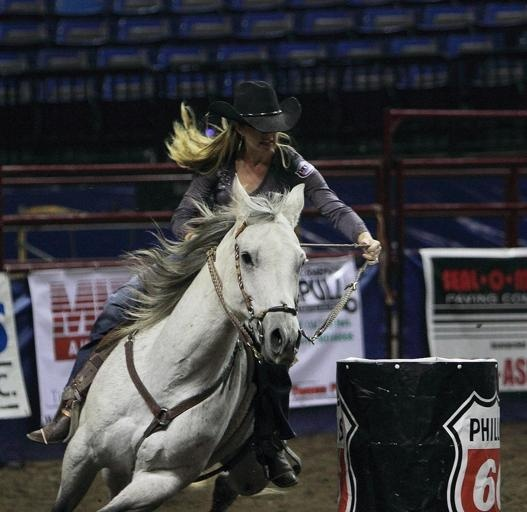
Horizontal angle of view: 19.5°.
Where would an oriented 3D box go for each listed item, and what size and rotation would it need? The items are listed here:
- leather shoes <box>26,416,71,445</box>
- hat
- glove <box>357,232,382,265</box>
[{"bbox_3d":[-1.911,1.573,13.866,0.455,0.277,0.187,13,-1,-9],"label":"leather shoes"},{"bbox_3d":[-0.073,-1.331,13.905,0.565,0.238,0.620,-6,8,-20],"label":"hat"},{"bbox_3d":[0.934,-0.066,13.586,0.200,0.280,0.283,0,0,4],"label":"glove"}]
